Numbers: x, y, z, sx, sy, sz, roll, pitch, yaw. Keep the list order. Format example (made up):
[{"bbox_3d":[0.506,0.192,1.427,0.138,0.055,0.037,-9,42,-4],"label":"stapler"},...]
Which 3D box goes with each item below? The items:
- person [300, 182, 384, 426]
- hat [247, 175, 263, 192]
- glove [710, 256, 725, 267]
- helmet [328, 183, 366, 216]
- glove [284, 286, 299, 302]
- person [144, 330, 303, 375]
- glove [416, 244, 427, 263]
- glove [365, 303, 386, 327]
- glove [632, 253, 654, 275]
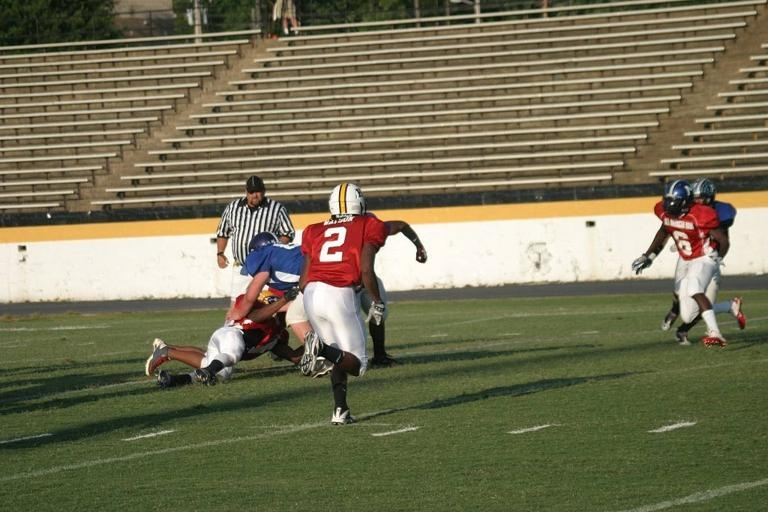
[{"bbox_3d":[-0.768,0.864,26.826,1.471,4.276,0.962,-1,9,-5],"label":"person"},{"bbox_3d":[-2.541,-1.435,29.444,0.308,0.310,0.399,0,9,-3],"label":"hat"},{"bbox_3d":[6.471,0.054,29.184,0.267,0.192,0.117,34,20,6],"label":"glove"},{"bbox_3d":[-0.669,-0.998,26.886,0.497,0.498,0.646,2,19,7],"label":"helmet"},{"bbox_3d":[-1.685,0.688,27.410,0.262,0.345,0.653,0,9,-4],"label":"glove"},{"bbox_3d":[-3.048,1.748,28.267,2.021,0.713,1.267,-9,14,-23],"label":"person"},{"bbox_3d":[0.695,-0.057,27.884,0.158,0.330,0.335,1,9,7],"label":"glove"},{"bbox_3d":[-0.133,1.035,27.056,0.381,0.365,0.349,-2,-4,40],"label":"glove"},{"bbox_3d":[5.104,0.143,29.699,0.350,0.524,0.217,28,-12,14],"label":"glove"}]
